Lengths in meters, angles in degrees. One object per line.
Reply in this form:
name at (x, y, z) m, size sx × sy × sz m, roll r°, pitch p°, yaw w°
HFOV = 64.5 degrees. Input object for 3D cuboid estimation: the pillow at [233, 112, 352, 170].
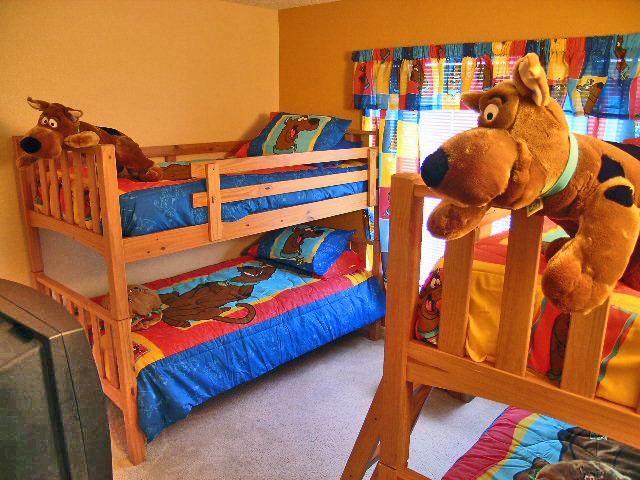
pillow at (-0.190, -0.771, 3.780) m, size 0.649 × 0.187 × 0.528 m, roll 0°, pitch 47°, yaw 31°

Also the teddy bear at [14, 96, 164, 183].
teddy bear at (-1.246, -0.527, 2.746) m, size 0.534 × 0.298 × 0.651 m, roll 8°, pitch 5°, yaw 40°

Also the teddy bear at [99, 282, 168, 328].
teddy bear at (-1.062, 0.409, 3.070) m, size 0.342 × 0.284 × 0.117 m, roll 5°, pitch 40°, yaw -22°

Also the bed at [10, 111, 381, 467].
bed at (-0.691, -0.002, 3.598) m, size 1.094 × 1.410 × 2.274 m, roll 12°, pitch 18°, yaw 36°

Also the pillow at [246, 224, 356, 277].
pillow at (-0.119, 0.039, 3.985) m, size 0.827 × 0.243 × 0.498 m, roll 9°, pitch 39°, yaw 43°
